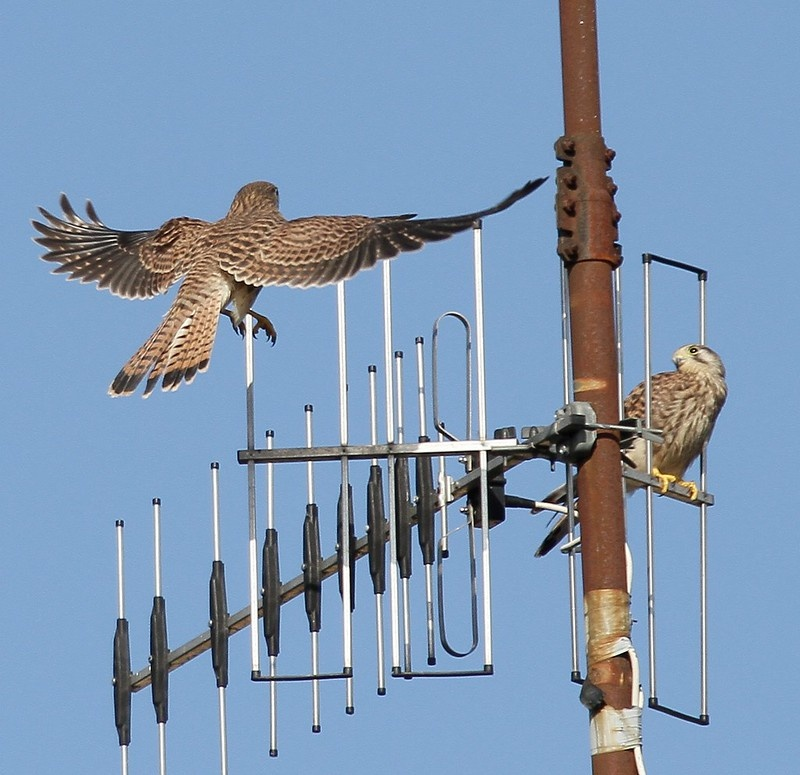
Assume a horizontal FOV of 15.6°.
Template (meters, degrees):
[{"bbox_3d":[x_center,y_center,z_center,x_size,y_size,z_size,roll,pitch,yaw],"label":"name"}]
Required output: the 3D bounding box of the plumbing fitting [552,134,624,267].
[{"bbox_3d":[0.864,-0.844,13.391,0.307,0.732,0.196,12,-33,-18],"label":"plumbing fitting"}]

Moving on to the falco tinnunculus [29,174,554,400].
[{"bbox_3d":[-1.096,-0.635,16.921,3.359,1.127,1.997,1,5,28],"label":"falco tinnunculus"}]

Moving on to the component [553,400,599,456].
[{"bbox_3d":[0.762,0.198,13.113,0.175,0.249,0.271,3,-15,-27],"label":"component"}]
